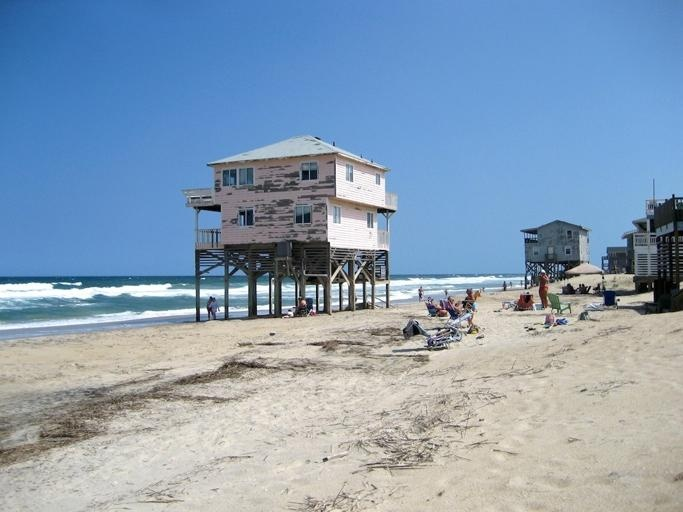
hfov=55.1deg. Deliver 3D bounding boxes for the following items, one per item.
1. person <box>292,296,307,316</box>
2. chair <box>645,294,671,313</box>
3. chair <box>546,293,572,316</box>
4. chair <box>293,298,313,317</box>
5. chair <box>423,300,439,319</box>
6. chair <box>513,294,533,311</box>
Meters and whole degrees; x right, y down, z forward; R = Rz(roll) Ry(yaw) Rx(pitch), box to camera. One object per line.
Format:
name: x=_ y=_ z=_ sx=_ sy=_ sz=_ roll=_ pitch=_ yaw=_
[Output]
person: x=-1.969 y=2.576 z=32.087 sx=0.596 sy=0.885 sz=0.894 roll=-1 pitch=-30 yaw=2
chair: x=10.705 y=1.686 z=21.779 sx=0.966 sy=0.594 sz=0.976 roll=-5 pitch=0 yaw=23
chair: x=8.931 y=2.030 z=26.868 sx=0.810 sy=0.996 sz=0.646 roll=-13 pitch=7 yaw=-21
chair: x=-1.868 y=2.692 z=32.429 sx=0.727 sy=1.054 sz=0.939 roll=-4 pitch=41 yaw=1
chair: x=3.635 y=2.148 z=26.196 sx=0.555 sy=0.666 sz=0.673 roll=0 pitch=-11 yaw=-30
chair: x=7.409 y=1.923 z=26.591 sx=0.686 sy=0.916 sz=0.714 roll=0 pitch=-4 yaw=21
